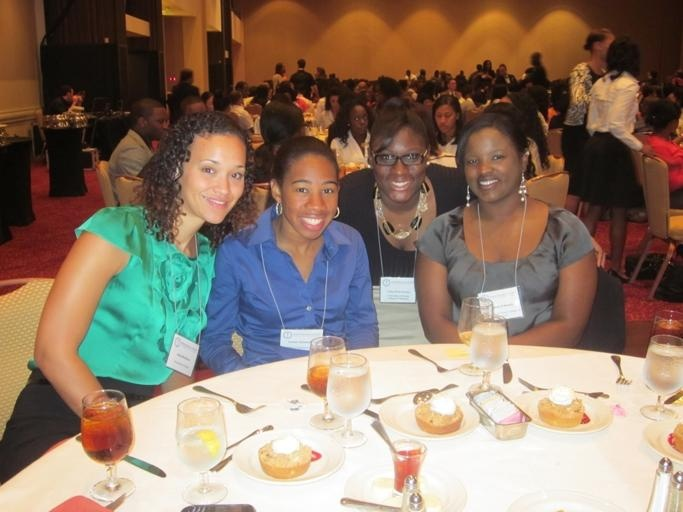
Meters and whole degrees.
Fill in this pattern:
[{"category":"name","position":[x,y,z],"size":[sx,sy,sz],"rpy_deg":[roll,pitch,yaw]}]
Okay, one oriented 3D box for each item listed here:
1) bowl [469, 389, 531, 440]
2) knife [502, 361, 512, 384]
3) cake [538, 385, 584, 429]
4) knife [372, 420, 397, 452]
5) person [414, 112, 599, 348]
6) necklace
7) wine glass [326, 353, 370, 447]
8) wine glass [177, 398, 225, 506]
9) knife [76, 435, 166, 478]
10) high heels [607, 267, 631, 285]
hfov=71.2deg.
[{"category":"bowl","position":[0.432,0.444,1.270],"size":[0.094,0.050,0.155],"rpy_deg":[-4,-3,1]},{"category":"knife","position":[0.540,0.379,1.554],"size":[0.020,0.013,0.119],"rpy_deg":[1,8,12]},{"category":"cake","position":[0.585,0.408,1.277],"size":[0.102,0.068,0.102],"rpy_deg":[-3,31,-3]},{"category":"knife","position":[0.111,0.452,1.202],"size":[0.027,0.014,0.114],"rpy_deg":[-16,25,-8]},{"category":"person","position":[0.759,-0.123,2.227],"size":[0.817,1.054,0.583],"rpy_deg":[7,16,27]},{"category":"necklace","position":[0.384,-0.265,2.842],"size":[0.265,0.384,0.090],"rpy_deg":[0,9,2]},{"category":"wine glass","position":[0.019,0.363,1.264],"size":[0.107,0.223,0.182],"rpy_deg":[0,14,0]},{"category":"wine glass","position":[-0.309,0.435,1.066],"size":[0.103,0.176,0.207],"rpy_deg":[-5,15,-18]},{"category":"knife","position":[-0.527,0.495,1.181],"size":[0.272,0.005,0.041],"rpy_deg":[12,35,31]},{"category":"high heels","position":[2.426,0.165,4.164],"size":[0.234,0.092,0.078],"rpy_deg":[27,6,-26]}]
